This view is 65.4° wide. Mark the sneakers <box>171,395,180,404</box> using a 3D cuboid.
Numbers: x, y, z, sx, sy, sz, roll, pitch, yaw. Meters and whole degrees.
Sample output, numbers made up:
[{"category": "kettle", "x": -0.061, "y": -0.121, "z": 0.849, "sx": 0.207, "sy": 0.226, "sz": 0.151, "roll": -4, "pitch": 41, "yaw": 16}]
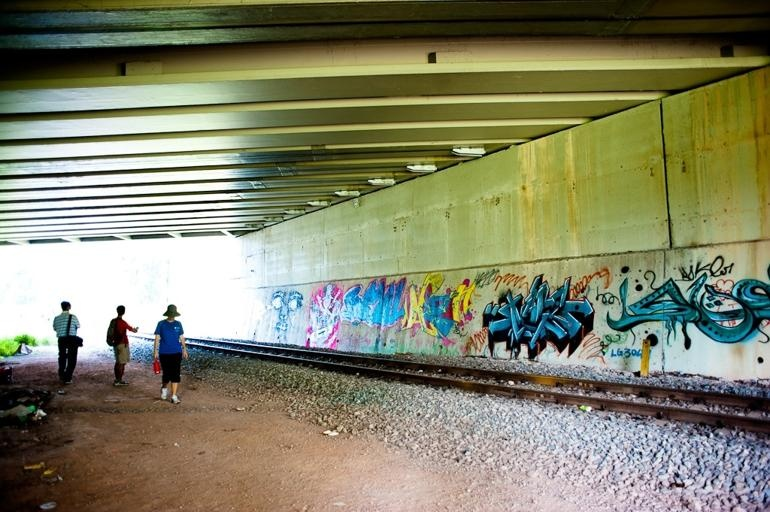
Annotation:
[{"category": "sneakers", "x": -5.468, "y": 3.792, "z": 15.710, "sx": 0.148, "sy": 0.125, "sz": 0.269, "roll": 8, "pitch": -14, "yaw": -37}]

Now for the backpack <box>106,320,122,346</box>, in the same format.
[{"category": "backpack", "x": -8.014, "y": 2.295, "z": 17.775, "sx": 0.375, "sy": 0.850, "sz": 0.506, "roll": -6, "pitch": 11, "yaw": -28}]

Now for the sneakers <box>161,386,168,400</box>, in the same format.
[{"category": "sneakers", "x": -5.923, "y": 3.721, "z": 16.106, "sx": 0.150, "sy": 0.353, "sz": 0.137, "roll": -34, "pitch": -46, "yaw": 6}]

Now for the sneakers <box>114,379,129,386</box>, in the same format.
[{"category": "sneakers", "x": -7.787, "y": 3.796, "z": 17.838, "sx": 0.470, "sy": 0.222, "sz": 0.175, "roll": 3, "pitch": -8, "yaw": -20}]
